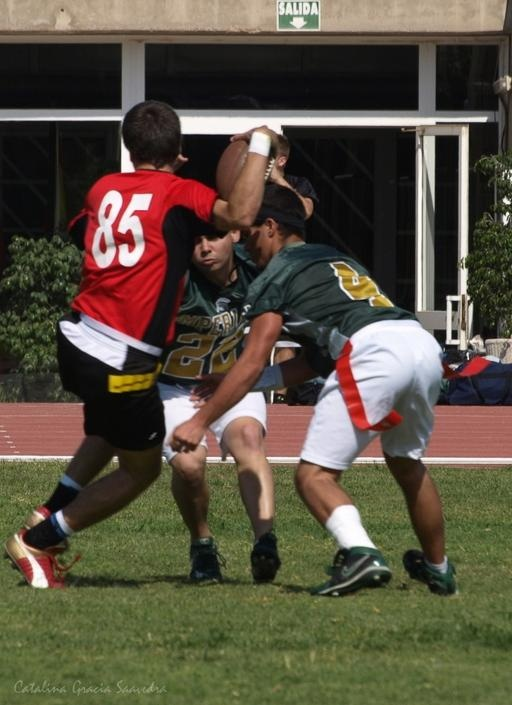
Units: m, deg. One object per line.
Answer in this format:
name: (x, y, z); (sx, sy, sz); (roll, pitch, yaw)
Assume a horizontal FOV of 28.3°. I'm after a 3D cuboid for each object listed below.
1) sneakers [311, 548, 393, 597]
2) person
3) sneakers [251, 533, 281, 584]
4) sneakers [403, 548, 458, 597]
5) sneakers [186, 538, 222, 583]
sneakers: (0.248, 0.643, 2.872); (0.281, 0.130, 0.095); (-28, -42, 34)
person: (-0.221, -0.021, 2.991); (1.078, 1.304, 0.486); (1, 0, 13)
sneakers: (0.033, 0.642, 3.144); (0.067, 0.077, 0.186); (1, -1, 2)
sneakers: (0.516, 0.664, 3.029); (0.203, 0.068, 0.090); (40, -18, 19)
sneakers: (-0.165, 0.673, 3.231); (0.132, 0.125, 0.099); (1, -2, 4)
